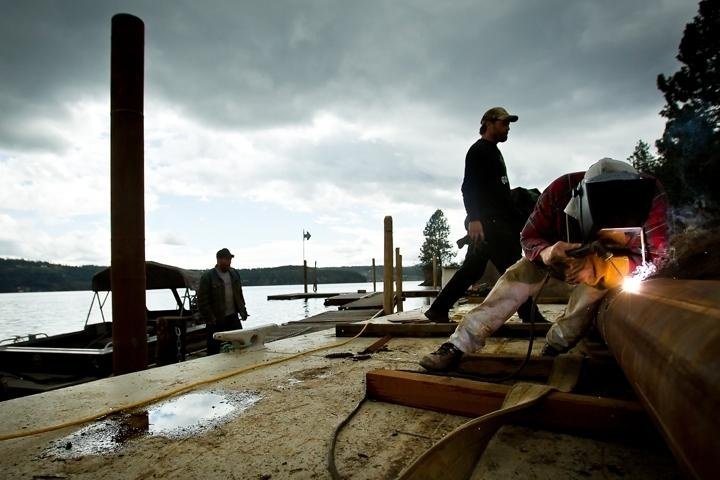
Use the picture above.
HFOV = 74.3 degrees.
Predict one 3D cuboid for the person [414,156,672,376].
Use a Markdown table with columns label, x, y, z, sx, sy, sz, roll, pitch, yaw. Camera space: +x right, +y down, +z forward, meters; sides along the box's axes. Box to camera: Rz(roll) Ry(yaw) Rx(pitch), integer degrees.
| label | x | y | z | sx | sy | sz | roll | pitch | yaw |
| --- | --- | --- | --- | --- | --- | --- | --- | --- | --- |
| person | 1.499 | 0.223 | 3.600 | 1.465 | 1.277 | 1.024 | -7 | -5 | 41 |

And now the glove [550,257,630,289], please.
| label | x | y | z | sx | sy | sz | roll | pitch | yaw |
| --- | --- | --- | --- | --- | --- | --- | --- | --- | --- |
| glove | 1.747 | 0.234 | 3.483 | 0.319 | 0.102 | 0.315 | -9 | 8 | 31 |

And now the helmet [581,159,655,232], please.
| label | x | y | z | sx | sy | sz | roll | pitch | yaw |
| --- | --- | --- | --- | --- | --- | --- | --- | --- | --- |
| helmet | 1.659 | -0.306 | 3.171 | 0.412 | 0.472 | 0.558 | -3 | 0 | 8 |

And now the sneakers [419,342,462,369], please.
| label | x | y | z | sx | sy | sz | roll | pitch | yaw |
| --- | --- | --- | --- | --- | --- | --- | --- | --- | --- |
| sneakers | 0.632 | 0.927 | 3.715 | 0.394 | 0.176 | 0.152 | 5 | -14 | -24 |
